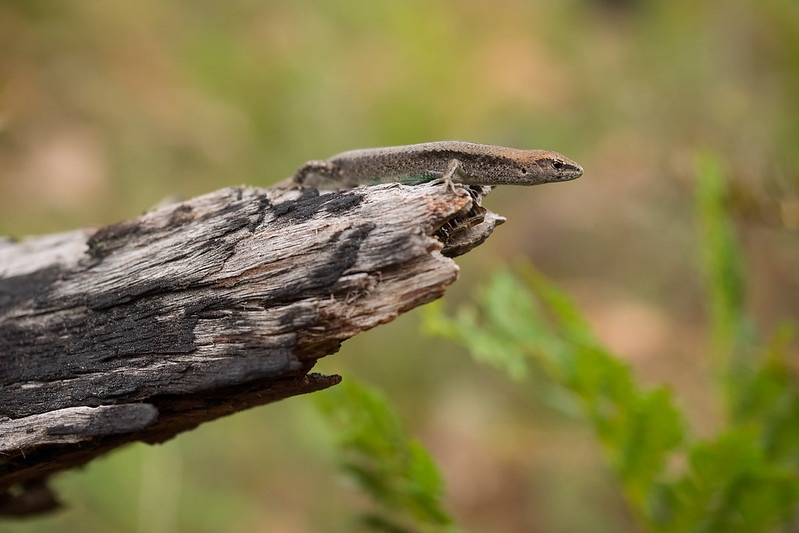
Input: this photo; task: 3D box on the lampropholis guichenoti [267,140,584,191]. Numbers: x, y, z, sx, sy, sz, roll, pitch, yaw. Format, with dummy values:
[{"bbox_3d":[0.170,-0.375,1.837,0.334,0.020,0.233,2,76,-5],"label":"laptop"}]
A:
[{"bbox_3d":[0.245,-0.680,5.638,1.220,0.179,0.513,-3,0,13],"label":"lampropholis guichenoti"}]
